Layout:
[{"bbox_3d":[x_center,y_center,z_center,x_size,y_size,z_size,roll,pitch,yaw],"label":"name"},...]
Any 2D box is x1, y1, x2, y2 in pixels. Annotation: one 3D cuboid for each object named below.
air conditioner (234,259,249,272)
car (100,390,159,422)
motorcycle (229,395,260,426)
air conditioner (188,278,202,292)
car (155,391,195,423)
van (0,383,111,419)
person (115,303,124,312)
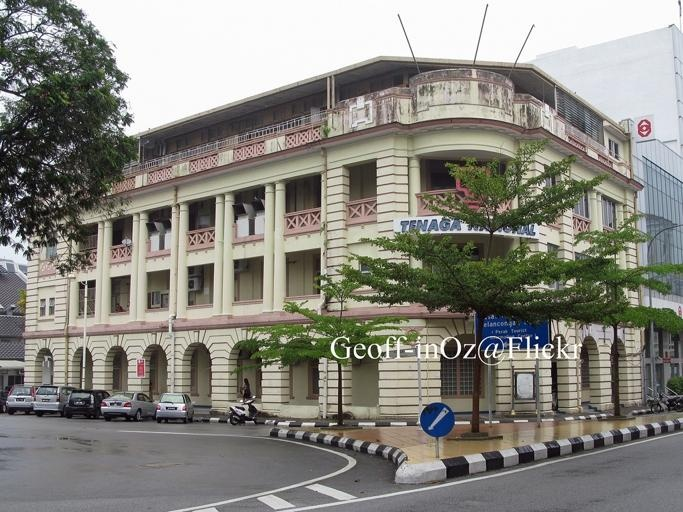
[{"bbox_3d":[-5.531,0.494,48.146,0.558,0.536,0.301,-8,-19,26],"label":"air conditioner"},{"bbox_3d":[-10.937,7.666,44.566,2.625,1.518,1.546,6,-17,-21],"label":"car"},{"bbox_3d":[-4.649,7.349,41.368,1.265,1.339,1.365,1,-16,-5],"label":"motorcycle"},{"bbox_3d":[-8.461,1.626,50.313,0.401,0.673,0.787,6,-8,-44],"label":"air conditioner"},{"bbox_3d":[-8.124,7.328,42.305,1.642,1.526,0.923,-7,-17,21],"label":"car"},{"bbox_3d":[-15.658,7.891,47.751,6.951,2.208,1.437,-11,-19,33],"label":"van"},{"bbox_3d":[-13.864,3.182,54.242,0.309,0.469,0.769,-2,-9,-4],"label":"person"}]
